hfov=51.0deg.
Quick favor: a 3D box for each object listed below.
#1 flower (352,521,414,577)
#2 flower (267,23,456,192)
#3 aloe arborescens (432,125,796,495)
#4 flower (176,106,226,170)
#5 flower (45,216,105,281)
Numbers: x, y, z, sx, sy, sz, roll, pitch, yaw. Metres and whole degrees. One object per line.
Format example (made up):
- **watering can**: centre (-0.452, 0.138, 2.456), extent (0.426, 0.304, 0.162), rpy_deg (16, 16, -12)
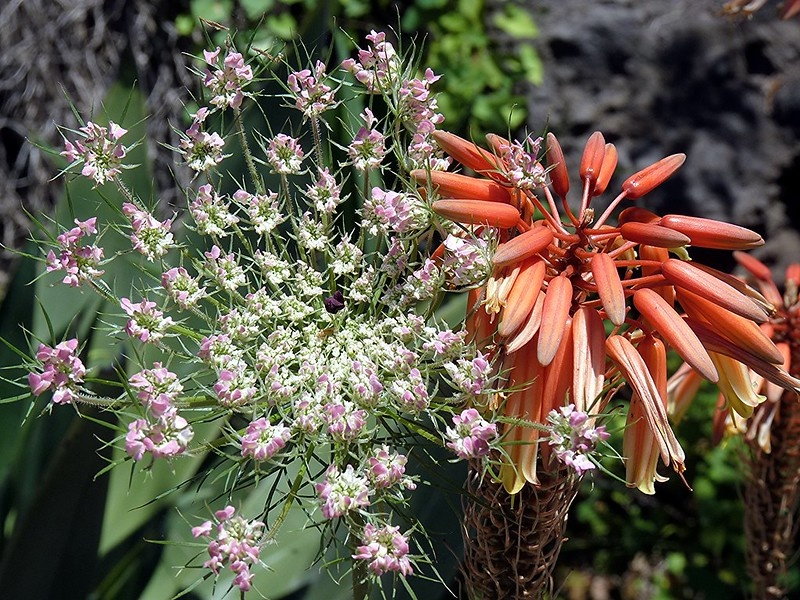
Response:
- **flower**: centre (-0.048, 0.567, 1.928), extent (0.118, 0.057, 0.128), rpy_deg (-21, 84, -17)
- **flower**: centre (-0.087, -0.471, 2.213), extent (0.421, 0.221, 0.474), rpy_deg (-2, 87, 3)
- **aloe arborescens**: centre (0.564, 0.045, 2.264), extent (0.783, 0.888, 0.905), rpy_deg (31, 117, 16)
- **flower**: centre (-0.485, -0.420, 2.042), extent (0.093, 0.078, 0.171), rpy_deg (2, 70, 3)
- **flower**: centre (-0.782, -0.105, 2.022), extent (0.141, 0.088, 0.206), rpy_deg (4, 89, -10)
